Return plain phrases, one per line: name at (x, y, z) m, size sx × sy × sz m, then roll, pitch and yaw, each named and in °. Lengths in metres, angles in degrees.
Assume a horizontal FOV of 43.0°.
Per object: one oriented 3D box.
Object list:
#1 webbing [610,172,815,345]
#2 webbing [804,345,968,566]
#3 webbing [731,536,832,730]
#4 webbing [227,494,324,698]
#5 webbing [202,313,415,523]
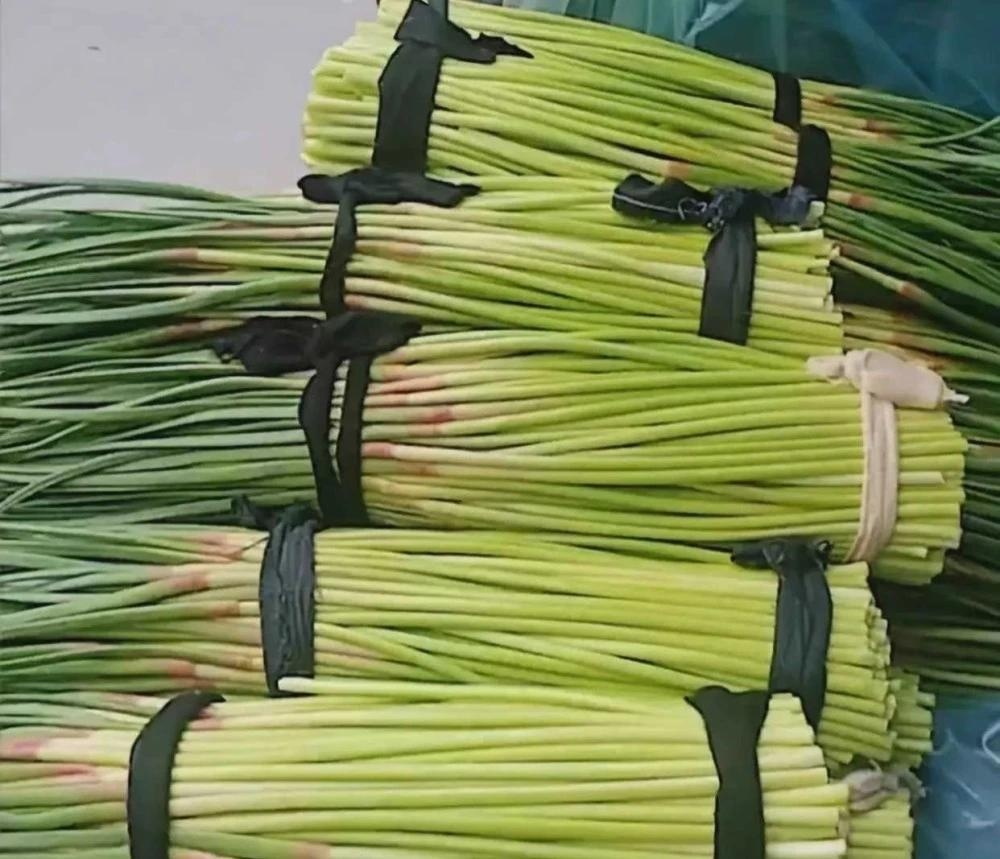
webbing at (0.324, -0.252, 1.948) m, size 0.257 × 0.216 × 0.052 m, roll 11°, pitch -8°, yaw 9°
webbing at (0.582, 0.038, 1.894) m, size 0.228 × 0.320 × 0.112 m, roll -1°, pitch 4°, yaw 14°
webbing at (0.412, 0.289, 1.831) m, size 0.139 × 0.246 × 0.108 m, roll -2°, pitch 4°, yaw 10°
webbing at (-0.312, 0.253, 1.912) m, size 0.093 × 0.272 × 0.110 m, roll -3°, pitch 4°, yaw -8°
webbing at (-0.282, -0.009, 1.949) m, size 0.354 × 0.318 × 0.071 m, roll -2°, pitch 0°, yaw 16°
